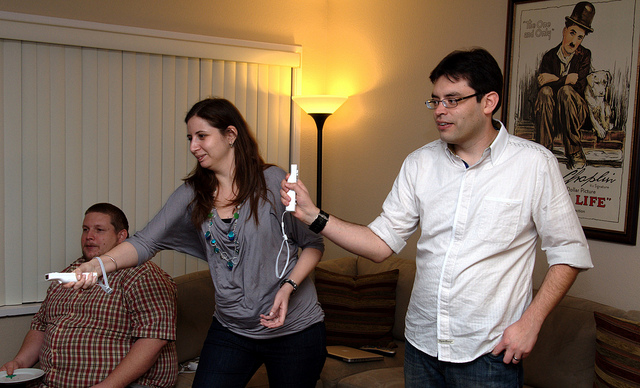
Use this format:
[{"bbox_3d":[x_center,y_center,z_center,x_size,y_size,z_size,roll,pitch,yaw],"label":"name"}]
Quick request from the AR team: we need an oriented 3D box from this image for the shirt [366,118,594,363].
[{"bbox_3d":[0.756,0.205,2.266,1.137,1.148,0.542,5,12,29],"label":"shirt"}]

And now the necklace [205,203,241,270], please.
[{"bbox_3d":[-0.499,0.217,2.336,0.195,0.321,0.103,-4,10,-8],"label":"necklace"}]

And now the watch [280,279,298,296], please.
[{"bbox_3d":[-0.164,0.464,2.307,0.104,0.100,0.070,7,-14,-2],"label":"watch"}]

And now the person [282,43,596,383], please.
[{"bbox_3d":[0.633,0.137,2.118,1.110,1.589,0.500,3,12,29],"label":"person"}]

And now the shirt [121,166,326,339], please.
[{"bbox_3d":[-0.566,0.358,2.571,1.227,0.982,0.411,-1,-6,0],"label":"shirt"}]

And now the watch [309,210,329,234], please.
[{"bbox_3d":[0.013,0.121,2.223,0.070,0.108,0.108,32,23,0],"label":"watch"}]
